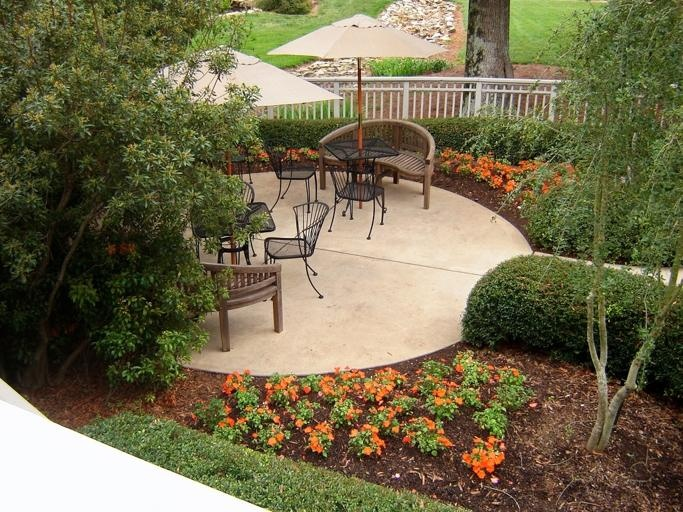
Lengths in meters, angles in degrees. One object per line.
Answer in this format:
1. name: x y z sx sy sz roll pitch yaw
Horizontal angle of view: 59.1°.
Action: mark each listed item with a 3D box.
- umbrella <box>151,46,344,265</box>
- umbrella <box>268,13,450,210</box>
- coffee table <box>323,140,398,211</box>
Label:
1. umbrella: -0.971 -1.496 6.621 1.478 1.045 1.495 -2 30 -7
2. umbrella: -0.075 -2.362 9.726 2.571 2.407 2.688 -9 31 -18
3. coffee table: 0.304 -1.394 9.827 1.085 1.156 1.120 -7 38 -9
